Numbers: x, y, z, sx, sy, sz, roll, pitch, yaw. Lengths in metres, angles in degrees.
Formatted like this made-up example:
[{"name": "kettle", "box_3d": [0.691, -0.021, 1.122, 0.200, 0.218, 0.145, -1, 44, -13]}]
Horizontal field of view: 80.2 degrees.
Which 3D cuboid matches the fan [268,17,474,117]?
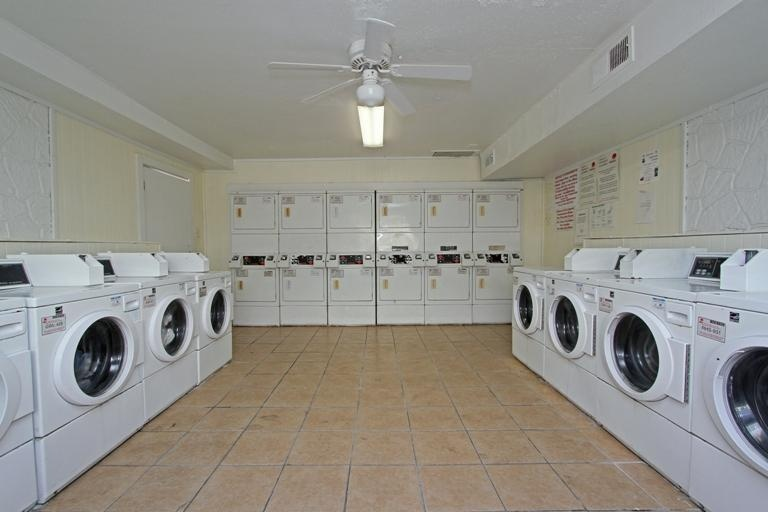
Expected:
[{"name": "fan", "box_3d": [-0.037, -1.626, 3.931, 1.531, 0.620, 1.186, 1, 9, 11]}]
